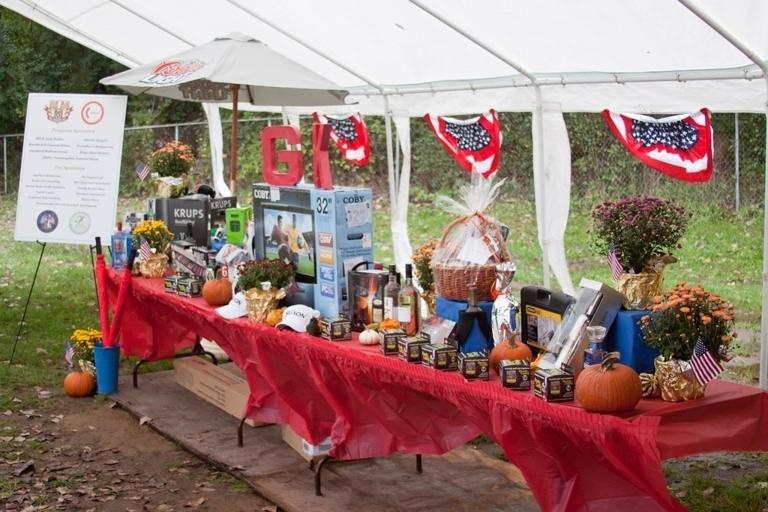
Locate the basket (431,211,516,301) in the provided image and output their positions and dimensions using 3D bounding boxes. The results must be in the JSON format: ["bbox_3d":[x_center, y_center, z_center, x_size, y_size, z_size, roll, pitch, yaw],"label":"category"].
[{"bbox_3d":[0.580,-0.011,4.505,0.444,0.572,0.607,3,6,6],"label":"basket"}]

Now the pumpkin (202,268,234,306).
[{"bbox_3d":[-1.353,0.218,5.617,0.278,0.385,0.272,-3,8,-32],"label":"pumpkin"}]

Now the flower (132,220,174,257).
[{"bbox_3d":[-2.174,-0.190,6.337,0.313,0.337,0.308,-10,16,-6],"label":"flower"}]

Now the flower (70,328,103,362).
[{"bbox_3d":[-3.105,0.897,7.021,0.326,0.285,0.365,-3,-3,12],"label":"flower"}]

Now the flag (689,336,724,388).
[{"bbox_3d":[1.774,0.566,3.730,0.196,0.264,0.013,-32,8,3],"label":"flag"}]

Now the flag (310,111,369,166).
[{"bbox_3d":[-0.542,-1.982,10.502,0.750,0.280,1.230,-15,-23,16],"label":"flag"}]

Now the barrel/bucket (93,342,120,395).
[{"bbox_3d":[-2.802,1.121,6.805,0.270,0.442,0.277,-1,-2,0],"label":"barrel/bucket"}]

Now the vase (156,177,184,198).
[{"bbox_3d":[-2.133,-0.698,6.702,0.211,0.170,0.210,6,6,39],"label":"vase"}]

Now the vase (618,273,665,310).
[{"bbox_3d":[1.507,0.196,3.982,0.220,0.186,0.222,4,-7,-12],"label":"vase"}]

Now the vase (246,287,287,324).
[{"bbox_3d":[-0.955,0.357,5.158,0.285,0.275,0.304,4,-7,-3],"label":"vase"}]

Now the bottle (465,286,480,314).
[{"bbox_3d":[0.581,0.249,4.336,0.085,0.159,0.287,2,14,8],"label":"bottle"}]

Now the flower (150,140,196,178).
[{"bbox_3d":[-2.128,-0.977,6.794,0.318,0.298,0.300,2,-1,-14],"label":"flower"}]

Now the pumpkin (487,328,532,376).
[{"bbox_3d":[0.735,0.573,4.055,0.226,0.322,0.252,-1,-8,-10],"label":"pumpkin"}]

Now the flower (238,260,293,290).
[{"bbox_3d":[-0.881,0.129,5.017,0.266,0.168,0.271,-3,3,-22],"label":"flower"}]

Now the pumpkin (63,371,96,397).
[{"bbox_3d":[-3.081,1.270,6.812,0.238,0.239,0.246,3,4,22],"label":"pumpkin"}]

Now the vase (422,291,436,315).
[{"bbox_3d":[0.352,0.354,5.185,0.141,0.186,0.143,1,2,14],"label":"vase"}]

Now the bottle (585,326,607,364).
[{"bbox_3d":[1.210,0.537,3.871,0.118,0.258,0.117,0,3,0],"label":"bottle"}]

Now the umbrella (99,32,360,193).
[{"bbox_3d":[-1.388,-1.311,6.417,1.764,1.311,1.888,6,17,3],"label":"umbrella"}]

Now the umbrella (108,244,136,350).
[{"bbox_3d":[-2.531,0.413,6.527,0.154,1.239,0.150,19,24,-4],"label":"umbrella"}]

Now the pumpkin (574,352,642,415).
[{"bbox_3d":[1.249,0.703,3.781,0.343,0.337,0.341,-10,6,-15],"label":"pumpkin"}]

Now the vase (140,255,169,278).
[{"bbox_3d":[-2.197,0.079,6.441,0.218,0.190,0.228,2,-1,-24],"label":"vase"}]

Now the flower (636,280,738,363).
[{"bbox_3d":[1.701,0.328,3.823,0.423,0.406,0.465,0,0,2],"label":"flower"}]

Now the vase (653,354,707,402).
[{"bbox_3d":[1.674,0.685,3.831,0.266,0.243,0.205,-4,4,-7],"label":"vase"}]

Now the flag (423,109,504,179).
[{"bbox_3d":[1.138,-1.300,8.317,1.063,1.112,0.171,-10,-15,-23],"label":"flag"}]

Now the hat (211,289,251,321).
[{"bbox_3d":[-1.173,0.394,5.276,0.180,0.115,0.266,15,23,31],"label":"hat"}]
